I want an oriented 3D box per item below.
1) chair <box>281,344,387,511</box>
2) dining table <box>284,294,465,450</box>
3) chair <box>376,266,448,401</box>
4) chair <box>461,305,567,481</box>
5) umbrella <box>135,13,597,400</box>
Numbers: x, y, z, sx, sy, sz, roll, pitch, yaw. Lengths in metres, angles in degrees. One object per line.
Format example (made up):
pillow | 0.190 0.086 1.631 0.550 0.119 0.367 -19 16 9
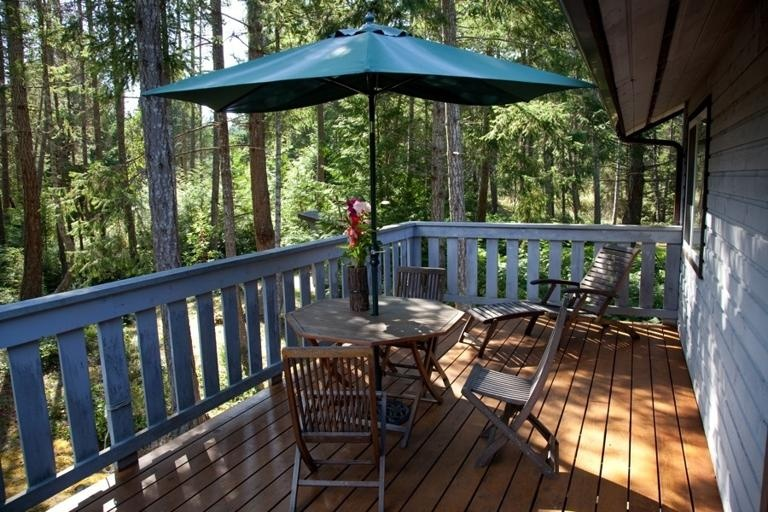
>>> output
chair | -0.393 1.318 4.872 0.789 1.357 0.514 0 10 -2
dining table | 0.023 0.657 5.688 1.318 0.893 1.326 8 27 19
chair | 0.408 0.582 6.398 0.718 1.451 1.030 1 4 19
chair | 1.111 1.128 5.253 0.912 1.327 0.976 -8 13 -40
umbrella | -0.079 -0.292 6.560 3.210 2.594 3.344 -1 7 0
